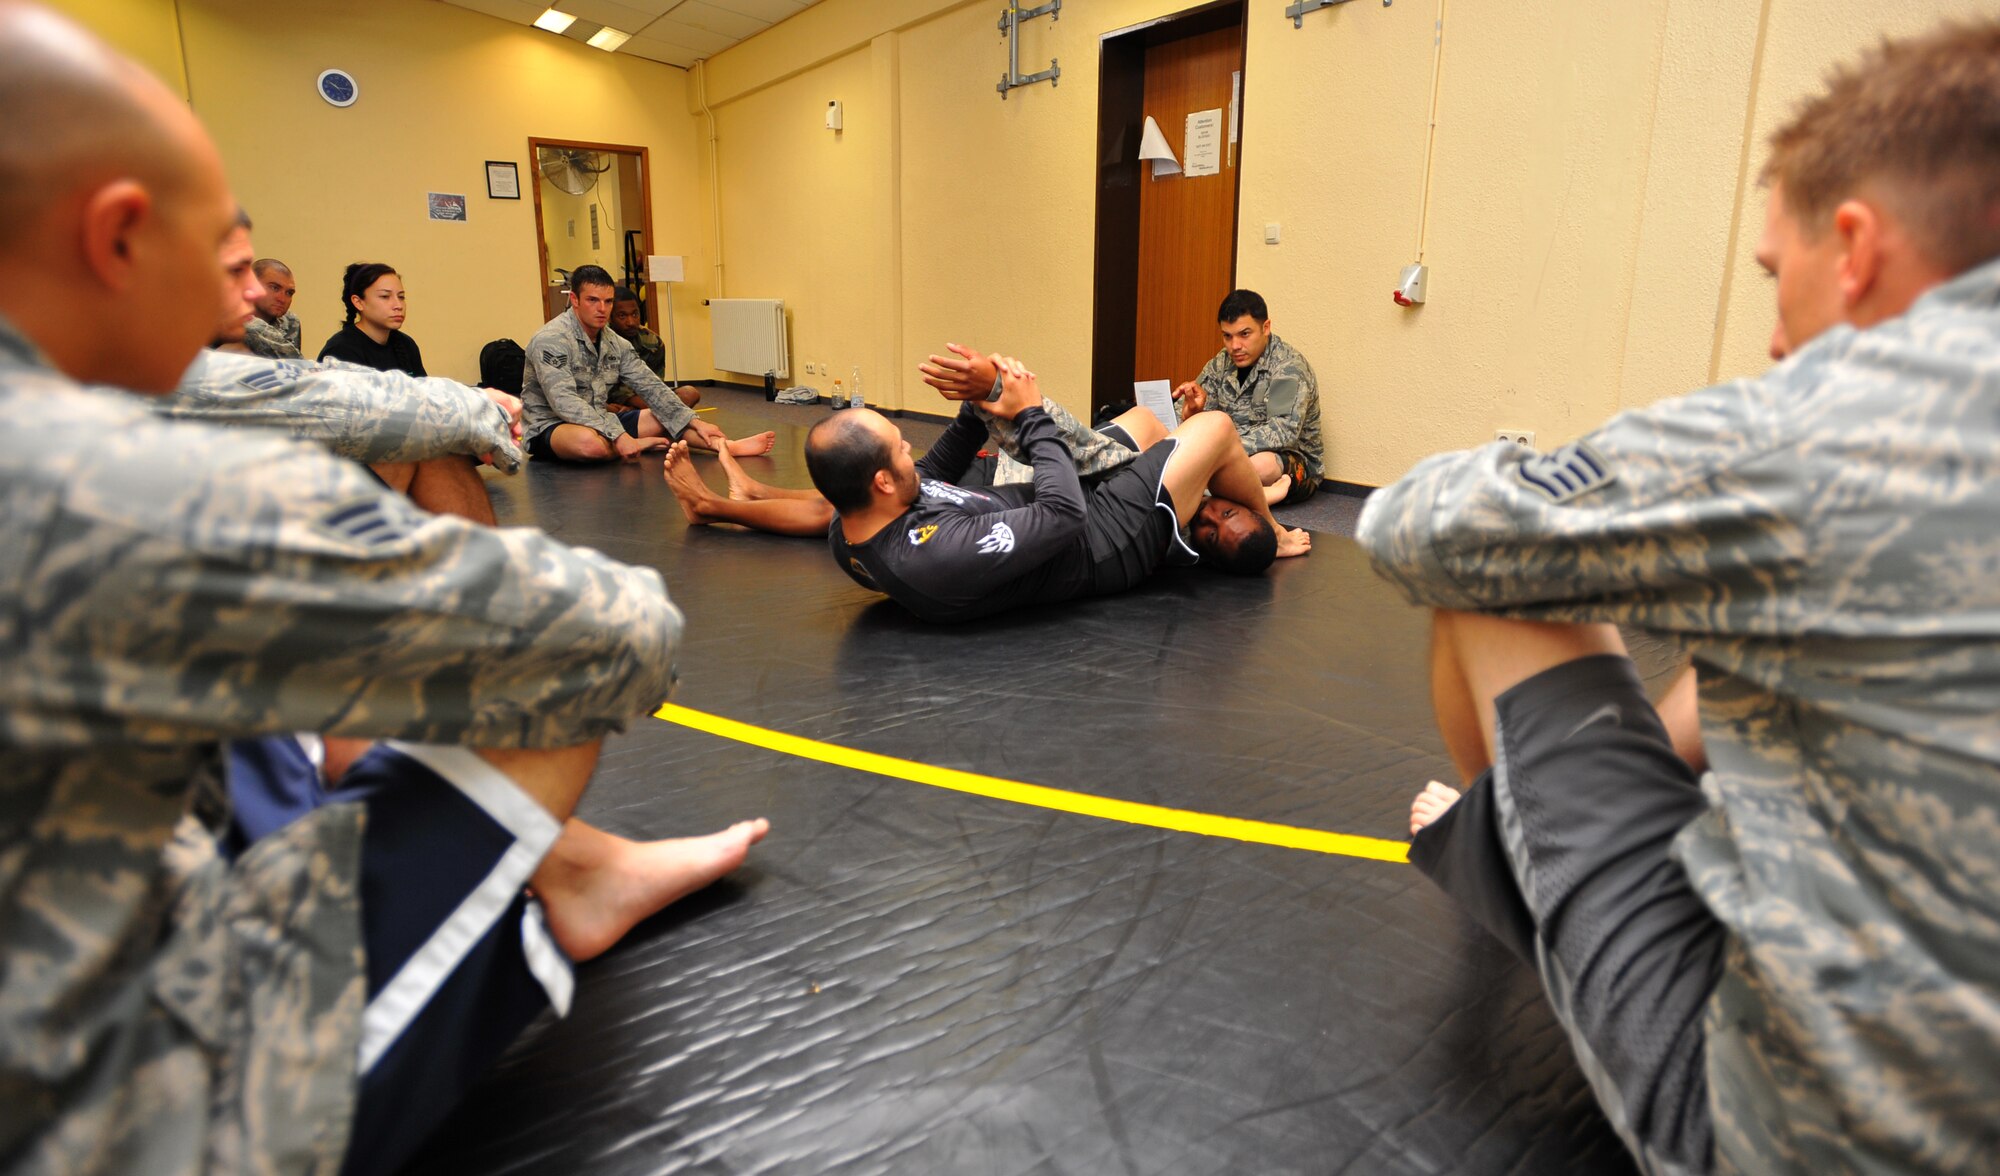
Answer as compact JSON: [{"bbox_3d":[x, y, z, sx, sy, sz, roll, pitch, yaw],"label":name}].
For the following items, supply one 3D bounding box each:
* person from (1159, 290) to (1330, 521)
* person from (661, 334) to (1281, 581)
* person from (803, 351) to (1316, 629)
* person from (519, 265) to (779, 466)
[{"bbox_3d":[1.140,-0.840,5.061,0.659,0.903,0.822,-13,20,-24],"label":"person"},{"bbox_3d":[0.084,-0.298,3.239,1.954,0.717,0.555,-5,5,-22],"label":"person"},{"bbox_3d":[0.084,-0.315,3.059,1.328,0.685,0.563,-11,18,-32],"label":"person"},{"bbox_3d":[-1.829,-1.101,5.665,1.270,0.900,0.789,6,19,3],"label":"person"}]
